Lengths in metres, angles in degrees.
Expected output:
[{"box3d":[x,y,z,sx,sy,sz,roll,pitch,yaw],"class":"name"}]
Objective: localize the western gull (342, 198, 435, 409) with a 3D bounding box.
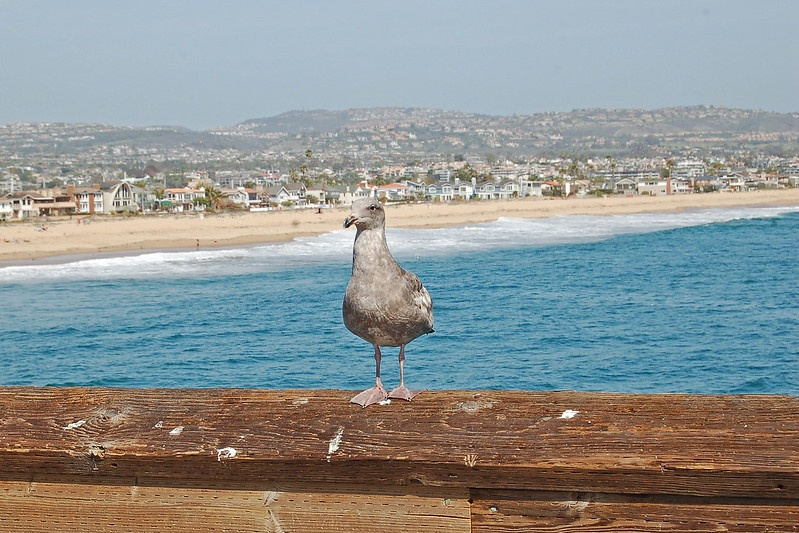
[{"box3d":[-2.420,6.597,259.253,20.066,34.642,33.589,-4,-2,21],"class":"western gull"}]
